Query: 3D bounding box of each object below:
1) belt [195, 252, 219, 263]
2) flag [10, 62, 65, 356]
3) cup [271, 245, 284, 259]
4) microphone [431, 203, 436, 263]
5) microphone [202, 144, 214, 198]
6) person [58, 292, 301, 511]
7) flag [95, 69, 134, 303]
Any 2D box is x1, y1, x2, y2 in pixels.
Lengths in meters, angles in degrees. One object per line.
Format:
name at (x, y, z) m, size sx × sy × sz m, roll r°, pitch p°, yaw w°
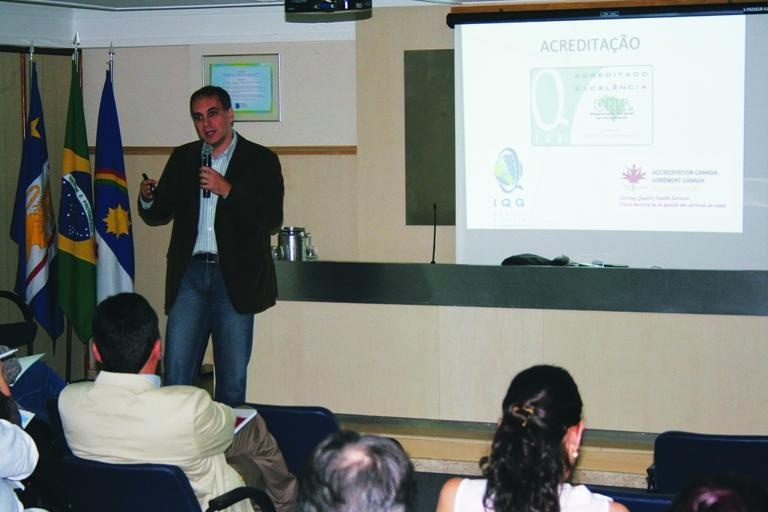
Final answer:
belt at (-1.018, 0.008, 4.165) m, size 0.146 × 0.054 × 0.022 m, roll 5°, pitch 5°, yaw 15°
flag at (-2.524, -0.391, 5.353) m, size 0.283 × 2.051 × 0.322 m, roll 4°, pitch 5°, yaw 21°
cup at (-0.746, -0.022, 5.096) m, size 0.077 × 0.159 × 0.081 m, roll -1°, pitch 0°, yaw 0°
microphone at (0.409, -0.197, 5.946) m, size 0.040 × 0.467 × 0.071 m, roll 4°, pitch 5°, yaw 20°
microphone at (-1.017, -0.490, 4.169) m, size 0.057 × 0.309 × 0.202 m, roll 2°, pitch 5°, yaw -14°
person at (-0.916, 0.695, 3.472) m, size 0.535 × 1.452 × 0.814 m, roll 3°, pitch 32°, yaw 18°
flag at (-2.049, -0.531, 5.470) m, size 0.439 × 1.715 × 0.261 m, roll 7°, pitch 6°, yaw 45°
